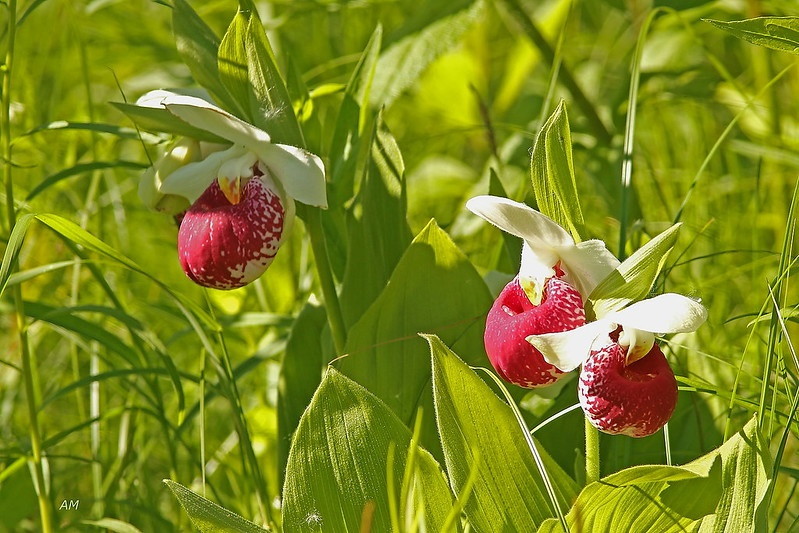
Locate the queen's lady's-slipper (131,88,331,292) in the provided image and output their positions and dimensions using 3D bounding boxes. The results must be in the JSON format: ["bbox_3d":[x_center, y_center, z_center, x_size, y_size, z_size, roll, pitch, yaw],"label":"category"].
[{"bbox_3d":[-0.393,-0.185,2.104,0.431,0.519,0.279,-6,17,12],"label":"queen's lady's-slipper"}]

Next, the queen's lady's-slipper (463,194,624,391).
[{"bbox_3d":[0.307,0.055,1.943,0.354,0.422,0.301,2,3,-37],"label":"queen's lady's-slipper"}]
